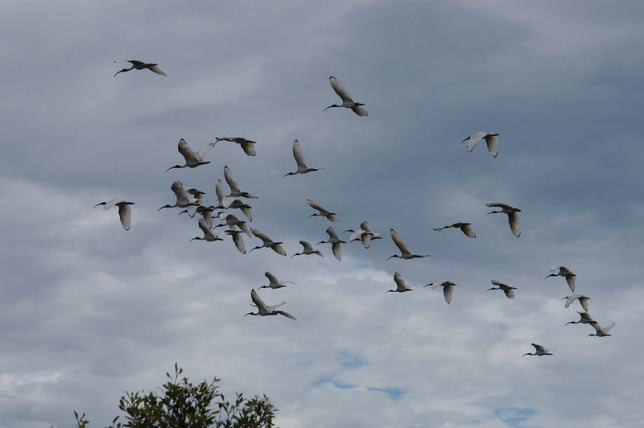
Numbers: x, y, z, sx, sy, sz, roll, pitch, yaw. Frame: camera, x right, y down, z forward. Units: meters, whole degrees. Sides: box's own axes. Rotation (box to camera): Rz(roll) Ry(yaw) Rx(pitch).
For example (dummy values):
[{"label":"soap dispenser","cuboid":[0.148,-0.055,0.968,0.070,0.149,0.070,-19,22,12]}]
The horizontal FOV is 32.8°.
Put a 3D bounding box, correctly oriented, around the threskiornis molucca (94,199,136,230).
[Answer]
[{"label":"threskiornis molucca","cuboid":[-8.544,-0.110,46.318,1.296,0.549,1.474,-11,-11,-4]}]
